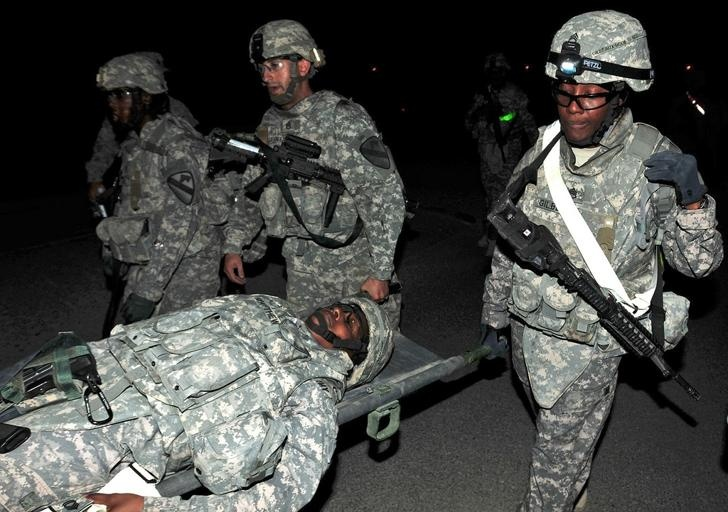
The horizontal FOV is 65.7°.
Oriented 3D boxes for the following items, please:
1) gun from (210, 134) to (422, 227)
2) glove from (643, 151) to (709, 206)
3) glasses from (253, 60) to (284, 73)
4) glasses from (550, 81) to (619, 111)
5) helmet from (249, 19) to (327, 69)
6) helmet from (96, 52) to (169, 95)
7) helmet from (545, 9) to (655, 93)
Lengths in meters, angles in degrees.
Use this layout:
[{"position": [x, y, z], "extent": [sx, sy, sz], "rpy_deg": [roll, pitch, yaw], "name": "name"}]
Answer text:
[{"position": [-0.456, -0.539, 3.977], "extent": [1.327, 0.660, 0.449], "rpy_deg": [13, 33, 27], "name": "gun"}, {"position": [1.507, -0.384, 2.861], "extent": [0.329, 0.228, 0.303], "rpy_deg": [24, 10, 16], "name": "glove"}, {"position": [-0.636, -1.262, 3.795], "extent": [0.101, 0.040, 0.127], "rpy_deg": [-10, 1, -34], "name": "glasses"}, {"position": [1.133, -0.834, 2.911], "extent": [0.326, 0.146, 0.126], "rpy_deg": [8, 31, 19], "name": "glasses"}, {"position": [-0.542, -1.462, 3.857], "extent": [0.402, 0.263, 0.380], "rpy_deg": [-8, 9, -26], "name": "helmet"}, {"position": [-1.677, -1.329, 4.195], "extent": [0.463, 0.134, 0.377], "rpy_deg": [-4, 19, 4], "name": "helmet"}, {"position": [1.208, -1.053, 2.902], "extent": [0.523, 0.315, 0.483], "rpy_deg": [-19, 29, -40], "name": "helmet"}]
